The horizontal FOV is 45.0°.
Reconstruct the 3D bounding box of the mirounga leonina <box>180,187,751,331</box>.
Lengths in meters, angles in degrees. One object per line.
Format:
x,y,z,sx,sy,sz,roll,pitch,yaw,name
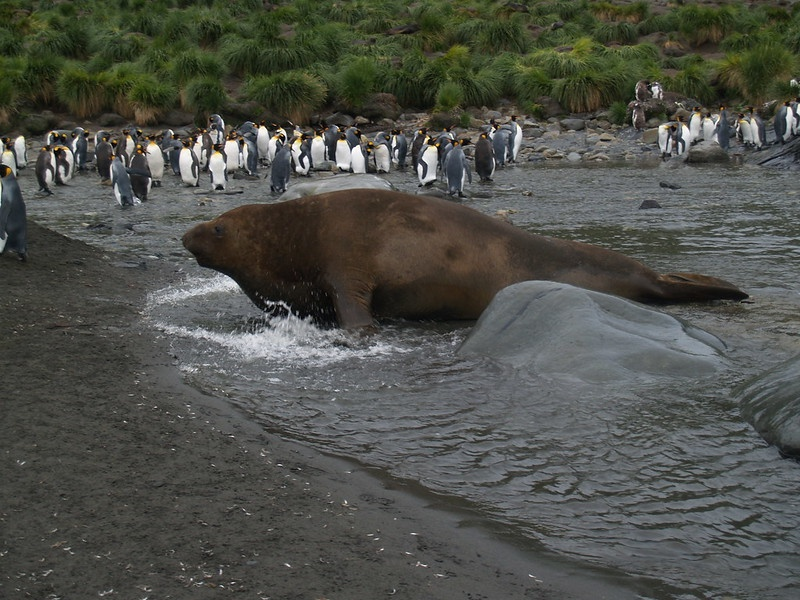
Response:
0.464,-0.359,8.053,4.473,0.783,1.505,-4,-23,-7,mirounga leonina
